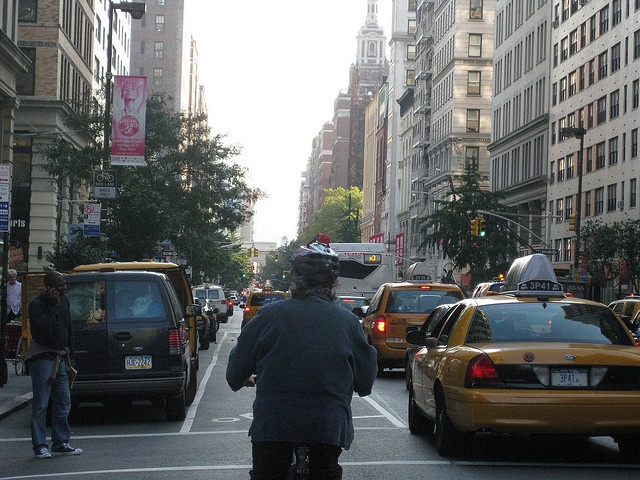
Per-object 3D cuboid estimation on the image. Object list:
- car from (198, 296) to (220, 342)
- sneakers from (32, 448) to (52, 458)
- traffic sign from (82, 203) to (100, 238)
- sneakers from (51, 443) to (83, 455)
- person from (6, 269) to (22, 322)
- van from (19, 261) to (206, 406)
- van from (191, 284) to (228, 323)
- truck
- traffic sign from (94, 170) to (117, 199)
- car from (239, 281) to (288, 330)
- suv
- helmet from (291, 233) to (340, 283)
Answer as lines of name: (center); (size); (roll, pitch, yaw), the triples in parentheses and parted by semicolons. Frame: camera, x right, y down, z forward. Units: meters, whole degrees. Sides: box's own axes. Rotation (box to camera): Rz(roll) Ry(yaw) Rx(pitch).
car: (-4.226, 2.892, 34.304); (1.015, 1.076, 2.171); (1, 4, 3)
sneakers: (-3.609, 2.731, 12.167); (0.220, 0.125, 0.245); (2, -1, -18)
traffic sign: (-6.783, -0.661, 27.844); (0.465, 0.853, 1.601); (1, -1, -14)
sneakers: (-3.325, 2.714, 12.285); (0.391, 0.170, 0.161); (0, -1, 4)
person: (-8.151, 1.427, 24.876); (0.325, 1.257, 0.892); (1, -1, -17)
van: (-3.197, 1.518, 16.054); (1.959, 1.990, 3.740); (-1, 2, -4)
van: (-5.673, 3.079, 48.115); (1.362, 1.294, 2.540); (0, 3, 1)
truck: (2.265, 1.966, 45.901); (3.225, 3.037, 5.767); (-1, -9, 14)
traffic sign: (-6.401, -1.696, 27.742); (0.698, 0.973, 0.096); (5, -10, -12)
car: (-2.420, 3.215, 38.816); (2.003, 1.753, 3.767); (0, 0, -2)
suv: (-2.961, 1.486, 14.331); (1.365, 1.383, 2.606); (0, 2, -3)
helmet: (-0.002, 0.120, 8.071); (0.382, 0.381, 0.572); (10, 1, -10)
